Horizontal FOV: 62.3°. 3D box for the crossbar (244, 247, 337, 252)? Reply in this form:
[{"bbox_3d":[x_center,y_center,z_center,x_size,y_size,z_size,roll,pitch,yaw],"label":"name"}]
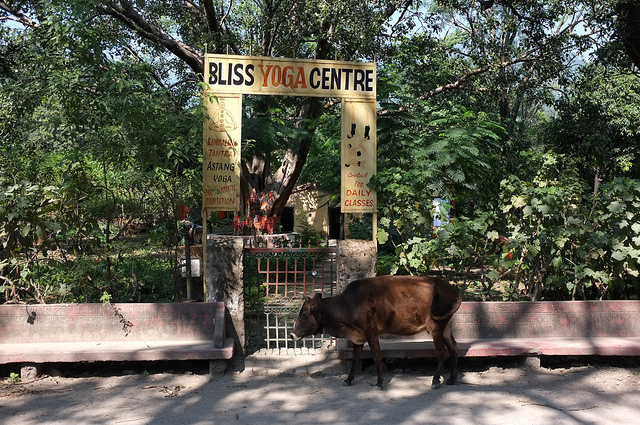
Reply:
[{"bbox_3d":[-0.729,0.790,10.943,1.577,0.074,0.074,1,-20,6],"label":"crossbar"}]

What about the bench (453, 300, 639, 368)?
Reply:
[{"bbox_3d":[4.457,2.377,10.273,3.599,1.109,0.797,-1,11,-1],"label":"bench"}]
